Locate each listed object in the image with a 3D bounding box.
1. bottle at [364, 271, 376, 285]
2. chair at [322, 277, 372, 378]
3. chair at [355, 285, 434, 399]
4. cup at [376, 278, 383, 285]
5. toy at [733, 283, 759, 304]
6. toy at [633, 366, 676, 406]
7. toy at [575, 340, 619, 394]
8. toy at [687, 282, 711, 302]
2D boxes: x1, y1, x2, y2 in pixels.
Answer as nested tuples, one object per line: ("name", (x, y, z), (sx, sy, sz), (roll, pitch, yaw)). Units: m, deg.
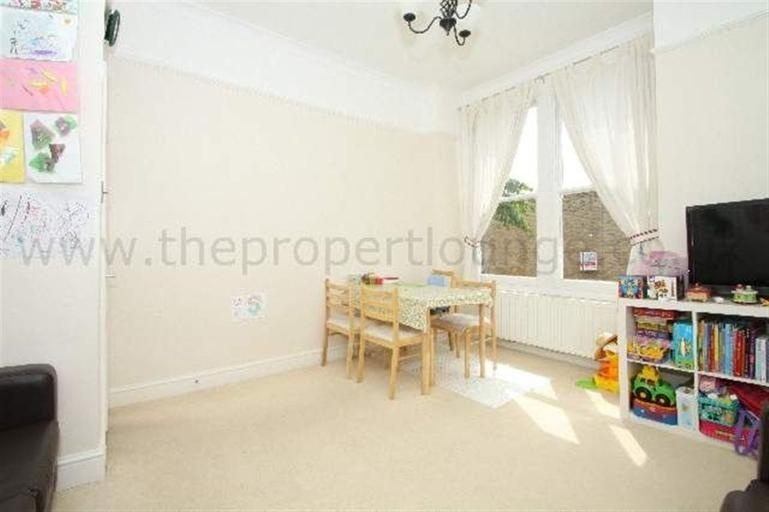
("bottle", (-0.167, 0.241, 5.157), (0.089, 0.119, 0.120), (-2, -6, 17))
("chair", (-0.315, 0.716, 5.026), (0.519, 0.871, 0.493), (-1, 6, -42))
("chair", (0.096, 0.782, 4.614), (0.675, 0.927, 0.648), (3, 5, 24))
("cup", (-0.055, 0.277, 5.083), (0.062, 0.045, 0.048), (-2, -2, 15))
("toy", (2.742, 0.272, 3.677), (0.185, 0.177, 0.132), (-2, 5, -24))
("toy", (2.165, 1.045, 3.880), (0.189, 0.342, 0.352), (2, -1, -38))
("toy", (1.987, 0.971, 4.456), (0.369, 0.491, 0.321), (2, 1, 33))
("toy", (2.440, 0.280, 3.739), (0.125, 0.074, 0.163), (-1, 2, 41))
